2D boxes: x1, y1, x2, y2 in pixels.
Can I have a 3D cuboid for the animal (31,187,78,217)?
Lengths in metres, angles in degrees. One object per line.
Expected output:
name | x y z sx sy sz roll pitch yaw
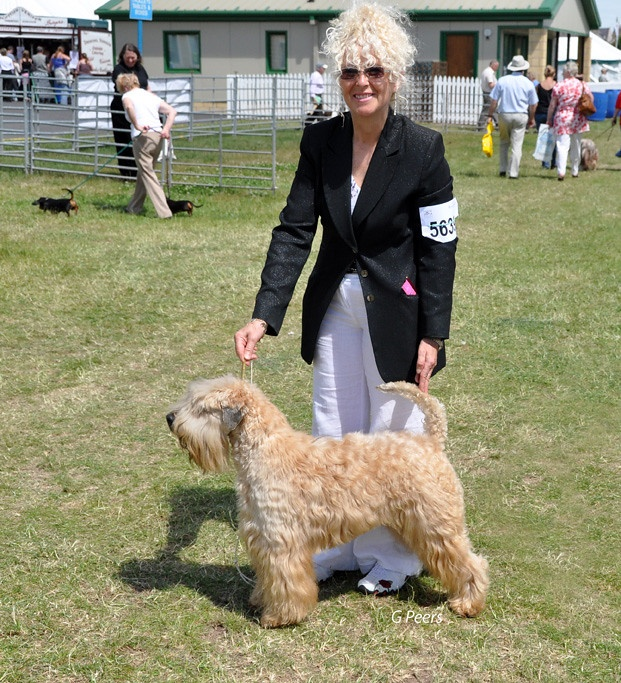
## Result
animal | -3.143 -1.754 14.119 0.410 0.274 0.733 -8 15 -35

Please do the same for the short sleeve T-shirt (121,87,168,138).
short sleeve T-shirt | -1.969 -2.779 13.485 0.247 0.502 0.600 8 14 31

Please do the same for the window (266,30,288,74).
window | -0.908 -8.102 31.285 0.627 1.240 0.126 3 27 6

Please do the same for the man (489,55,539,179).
man | 3.183 -3.555 17.746 0.685 1.878 0.469 6 9 14

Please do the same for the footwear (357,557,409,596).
footwear | 0.342 1.133 5.381 0.201 0.091 0.118 -14 39 -14

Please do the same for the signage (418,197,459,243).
signage | 0.609 -0.554 5.104 0.117 0.190 0.226 12 17 43

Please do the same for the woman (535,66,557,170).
woman | 4.483 -4.216 21.063 0.473 1.865 0.468 -5 8 24

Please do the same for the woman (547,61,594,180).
woman | 4.132 -3.561 17.970 0.623 1.841 0.623 -5 14 -13

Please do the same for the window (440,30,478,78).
window | 4.012 -7.549 30.014 0.894 1.761 0.175 3 46 10
